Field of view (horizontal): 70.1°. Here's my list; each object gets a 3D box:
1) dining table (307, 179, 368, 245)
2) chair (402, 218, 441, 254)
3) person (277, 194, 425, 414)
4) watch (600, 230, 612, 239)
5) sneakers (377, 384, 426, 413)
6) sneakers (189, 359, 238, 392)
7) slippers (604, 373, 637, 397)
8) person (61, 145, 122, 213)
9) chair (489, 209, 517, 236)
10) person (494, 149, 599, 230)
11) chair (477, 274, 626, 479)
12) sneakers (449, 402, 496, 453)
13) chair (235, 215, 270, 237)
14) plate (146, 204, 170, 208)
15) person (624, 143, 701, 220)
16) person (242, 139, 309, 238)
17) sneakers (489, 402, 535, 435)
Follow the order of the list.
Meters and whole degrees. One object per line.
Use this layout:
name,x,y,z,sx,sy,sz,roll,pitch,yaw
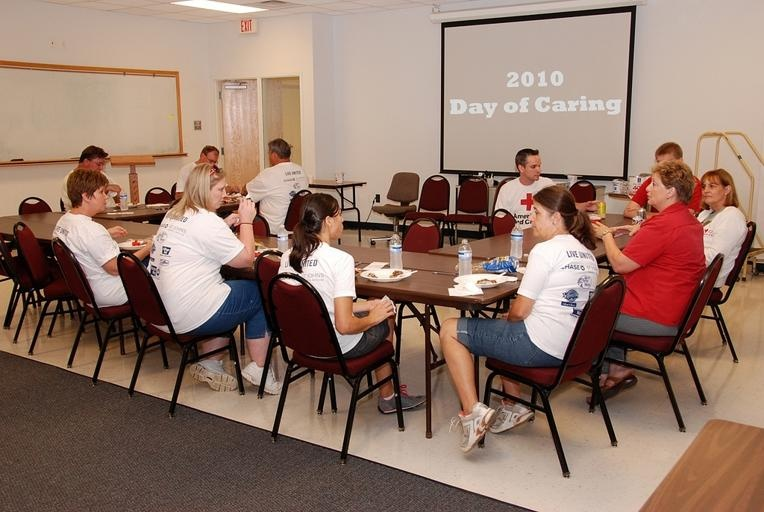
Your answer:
dining table,-0.674,-0.706,8.984,1.040,1.000,1.055,1,2,29
chair,0.375,-0.185,4.764,0.289,0.452,0.306,3,6,23
person,-0.188,0.389,3.400,0.818,1.539,0.570,-5,15,-12
watch,1.526,-0.141,3.711,0.071,0.026,0.062,-10,14,8
sneakers,0.142,0.983,3.838,0.381,0.174,0.143,-4,3,-20
sneakers,-1.260,0.900,4.084,0.254,0.120,0.182,24,5,10
slippers,1.717,0.915,3.966,0.354,0.141,0.129,-13,2,-43
person,-3.349,-0.902,6.387,0.576,0.724,0.579,12,19,24
chair,1.190,-0.322,5.353,0.229,0.410,0.266,0,2,16
person,1.604,-0.649,5.746,1.124,0.913,0.682,-13,24,-9
chair,1.089,0.649,3.223,0.818,1.146,0.479,-6,16,-17
sneakers,0.522,1.003,3.220,0.171,0.349,0.139,27,19,14
chair,-1.171,-0.288,5.123,0.185,0.325,0.206,2,1,18
plate,-2.736,-0.620,6.725,0.152,0.037,0.147,3,3,31
person,2.769,-0.673,5.329,0.663,0.895,0.499,4,-1,25
person,-1.271,-0.749,6.717,0.780,1.363,0.736,13,22,26
sneakers,0.803,1.057,3.552,0.342,0.157,0.146,-22,-5,41
